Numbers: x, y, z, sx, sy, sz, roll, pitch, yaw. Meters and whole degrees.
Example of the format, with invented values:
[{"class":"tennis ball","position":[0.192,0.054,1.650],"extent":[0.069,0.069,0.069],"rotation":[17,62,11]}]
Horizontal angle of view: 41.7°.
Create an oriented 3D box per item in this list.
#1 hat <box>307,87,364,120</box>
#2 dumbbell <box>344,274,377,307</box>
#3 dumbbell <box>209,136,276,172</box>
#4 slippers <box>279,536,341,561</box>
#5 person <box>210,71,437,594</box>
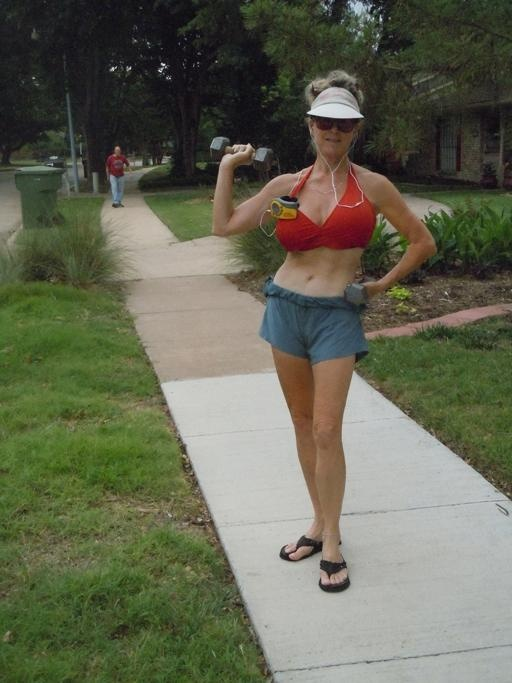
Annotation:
[{"class":"hat","position":[0.289,-0.832,2.453],"extent":[0.203,0.175,0.152],"rotation":[1,15,-1]},{"class":"dumbbell","position":[0.361,-0.163,2.431],"extent":[0.084,0.094,0.076],"rotation":[0,8,6]},{"class":"dumbbell","position":[-0.023,-0.796,2.825],"extent":[0.248,0.175,0.269],"rotation":[-6,16,-13]},{"class":"slippers","position":[0.202,0.836,2.732],"extent":[0.203,0.049,0.075],"rotation":[-6,14,-18]},{"class":"person","position":[0.230,-0.012,2.765],"extent":[0.799,1.901,0.934],"rotation":[-1,3,-16]}]
